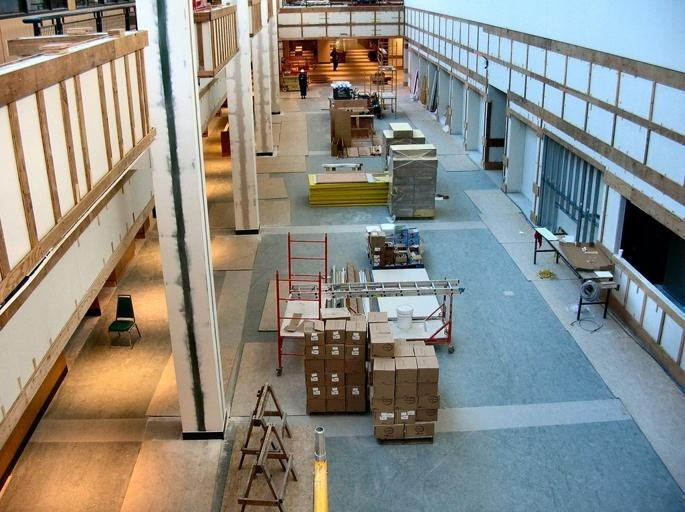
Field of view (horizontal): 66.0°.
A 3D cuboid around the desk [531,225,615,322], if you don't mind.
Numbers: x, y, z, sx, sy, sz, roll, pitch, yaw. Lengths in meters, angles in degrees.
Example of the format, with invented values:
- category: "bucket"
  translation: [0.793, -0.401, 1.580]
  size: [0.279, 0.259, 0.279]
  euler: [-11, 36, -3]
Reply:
- category: "desk"
  translation: [5.875, 0.520, 13.283]
  size: [0.578, 0.717, 2.292]
  euler: [-6, 30, 5]

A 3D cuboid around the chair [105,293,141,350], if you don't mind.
- category: "chair"
  translation: [-5.036, 1.510, 12.075]
  size: [0.676, 1.077, 0.728]
  euler: [-6, 22, -19]

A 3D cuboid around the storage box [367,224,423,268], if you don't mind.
- category: "storage box"
  translation: [1.496, -0.204, 14.961]
  size: [1.459, 0.630, 1.132]
  euler: [0, 62, 2]
